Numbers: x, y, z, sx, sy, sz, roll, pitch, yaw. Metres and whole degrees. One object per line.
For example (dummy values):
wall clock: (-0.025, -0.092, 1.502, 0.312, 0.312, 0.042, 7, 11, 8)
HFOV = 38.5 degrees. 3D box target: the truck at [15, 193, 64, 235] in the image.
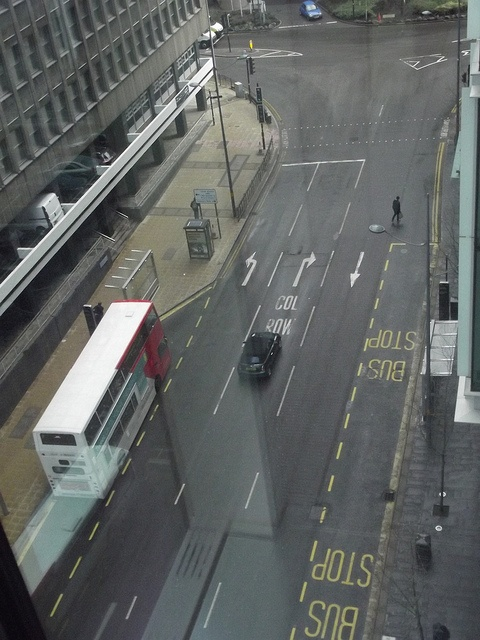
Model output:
truck: (-8.953, -4.752, 31.029, 0.769, 1.268, 2.668, 0, 31, 17)

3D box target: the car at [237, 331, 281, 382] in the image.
car: (0.905, 1.380, 31.170, 1.025, 0.921, 2.639, 4, 44, 16)

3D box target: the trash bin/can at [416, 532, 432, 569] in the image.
trash bin/can: (5.569, 7.048, 20.850, 0.344, 0.823, 0.415, 5, 35, 19)

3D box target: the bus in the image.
bus: (-5.179, 2.901, 27.701, 1.951, 3.651, 8.732, -1, 31, 15)
